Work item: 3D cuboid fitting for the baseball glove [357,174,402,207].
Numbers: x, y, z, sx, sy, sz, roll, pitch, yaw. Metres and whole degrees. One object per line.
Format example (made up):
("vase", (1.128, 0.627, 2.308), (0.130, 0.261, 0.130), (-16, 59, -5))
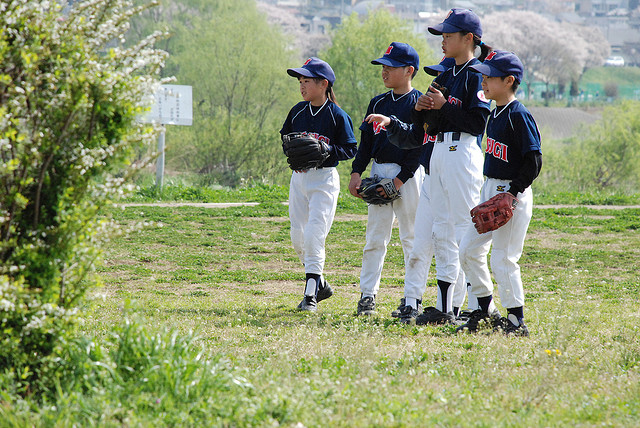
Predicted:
("baseball glove", (0.705, -0.271, 11.616), (0.516, 0.376, 0.330), (3, 2, 6))

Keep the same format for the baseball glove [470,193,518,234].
("baseball glove", (1.874, -0.037, 10.539), (0.334, 0.490, 0.390), (-1, 1, -37))

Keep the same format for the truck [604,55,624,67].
("truck", (24.922, -12.796, 83.125), (1.342, 1.035, 2.998), (1, 2, 21))

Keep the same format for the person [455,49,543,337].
("person", (1.990, -0.254, 10.808), (0.823, 3.092, 0.790), (3, 2, 8))

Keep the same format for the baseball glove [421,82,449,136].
("baseball glove", (1.274, -1.166, 11.084), (0.153, 0.520, 0.372), (-1, 10, -17))

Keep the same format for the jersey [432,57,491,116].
("jersey", (1.414, -1.391, 11.067), (0.410, 0.740, 1.056), (1, 0, -1))

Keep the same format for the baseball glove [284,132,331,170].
("baseball glove", (-0.146, -0.751, 11.892), (0.584, 0.450, 0.359), (3, 2, 5))
